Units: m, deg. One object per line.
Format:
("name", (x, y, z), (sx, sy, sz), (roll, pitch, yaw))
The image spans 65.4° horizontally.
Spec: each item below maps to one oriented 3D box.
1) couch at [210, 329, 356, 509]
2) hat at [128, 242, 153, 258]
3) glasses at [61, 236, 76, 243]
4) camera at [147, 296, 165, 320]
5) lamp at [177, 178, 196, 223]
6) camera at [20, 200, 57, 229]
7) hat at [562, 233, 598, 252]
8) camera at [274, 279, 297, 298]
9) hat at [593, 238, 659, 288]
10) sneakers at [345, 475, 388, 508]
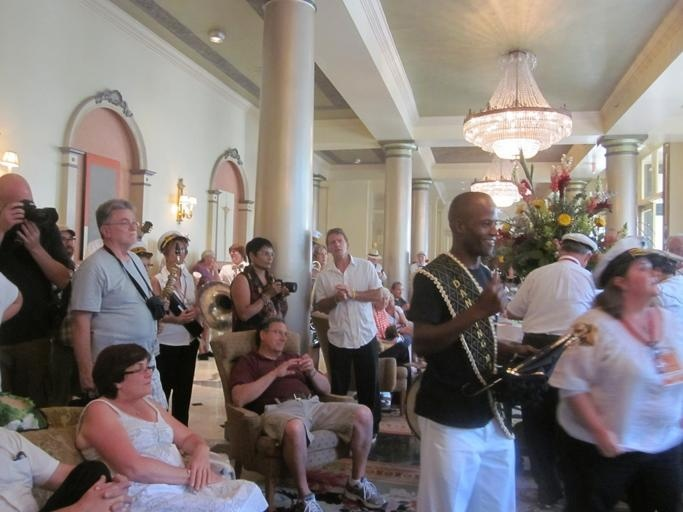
("couch", (-0.396, 1.153, 4.086), (0.966, 1.238, 1.092), (5, -11, -40))
("hat", (-1.928, -0.061, 5.107), (0.221, 0.165, 0.082), (25, 35, 3))
("glasses", (-2.521, -0.156, 4.908), (0.125, 0.043, 0.160), (1, -3, -2))
("camera", (-1.177, 0.336, 3.413), (0.051, 0.135, 0.101), (-6, 6, 4))
("lamp", (-2.629, -0.942, 9.110), (0.233, 0.777, 0.434), (0, 1, 8))
("camera", (-1.792, -0.252, 3.218), (0.127, 0.160, 0.280), (0, 1, 5))
("hat", (1.754, -0.101, 3.896), (0.178, 0.070, 0.161), (27, -4, -12))
("camera", (-0.447, 0.257, 4.226), (0.147, 0.089, 0.138), (-1, -5, 6))
("hat", (1.321, -0.014, 2.531), (0.266, 0.089, 0.249), (-37, -8, 24))
("sneakers", (0.169, 1.622, 3.693), (0.277, 0.168, 0.143), (21, -4, 10))
